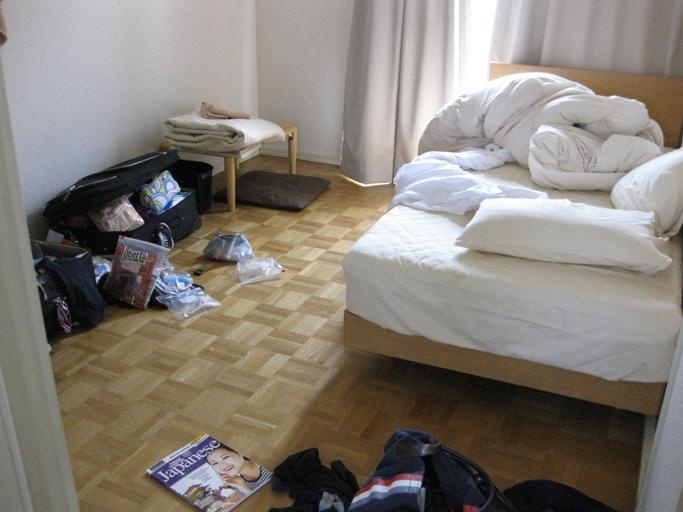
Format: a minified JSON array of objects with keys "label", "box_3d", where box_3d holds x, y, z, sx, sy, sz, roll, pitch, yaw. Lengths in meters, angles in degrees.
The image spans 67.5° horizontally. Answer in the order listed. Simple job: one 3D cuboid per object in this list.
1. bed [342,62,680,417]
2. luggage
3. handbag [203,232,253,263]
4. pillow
[{"label":"bed","box_3d":[1.184,-0.024,3.087,1.503,1.045,2.497,9,42,15]},{"label":"luggage","box_3d":[-1.261,-0.272,3.092,0.447,0.570,0.845,13,31,25]},{"label":"handbag","box_3d":[-0.698,-0.053,3.171,0.309,0.137,0.164,5,29,12]},{"label":"pillow","box_3d":[0.897,-0.101,2.067,0.655,0.174,0.391,7,20,20]}]
